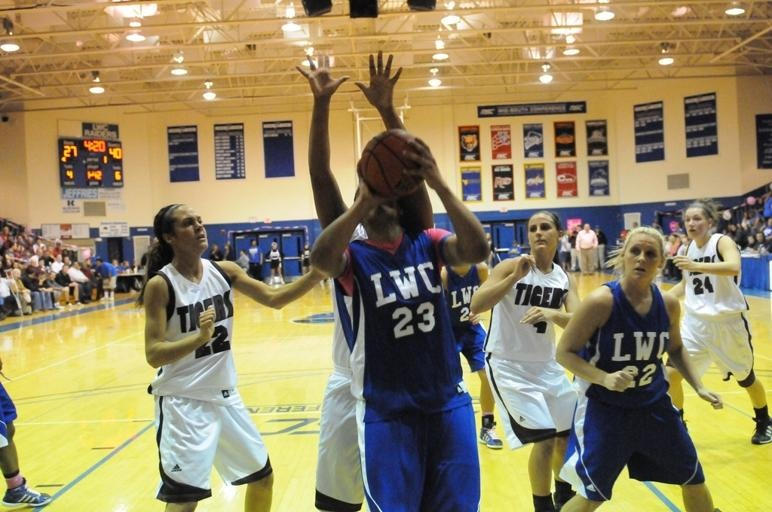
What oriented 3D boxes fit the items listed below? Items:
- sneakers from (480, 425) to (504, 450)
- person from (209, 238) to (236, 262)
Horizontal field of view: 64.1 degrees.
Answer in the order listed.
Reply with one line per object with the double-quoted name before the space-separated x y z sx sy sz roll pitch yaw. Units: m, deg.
"sneakers" 1.167 2.003 6.758 0.123 0.147 0.313 3 -9 -14
"person" -5.728 -0.225 21.754 0.800 1.373 1.327 0 1 -5
